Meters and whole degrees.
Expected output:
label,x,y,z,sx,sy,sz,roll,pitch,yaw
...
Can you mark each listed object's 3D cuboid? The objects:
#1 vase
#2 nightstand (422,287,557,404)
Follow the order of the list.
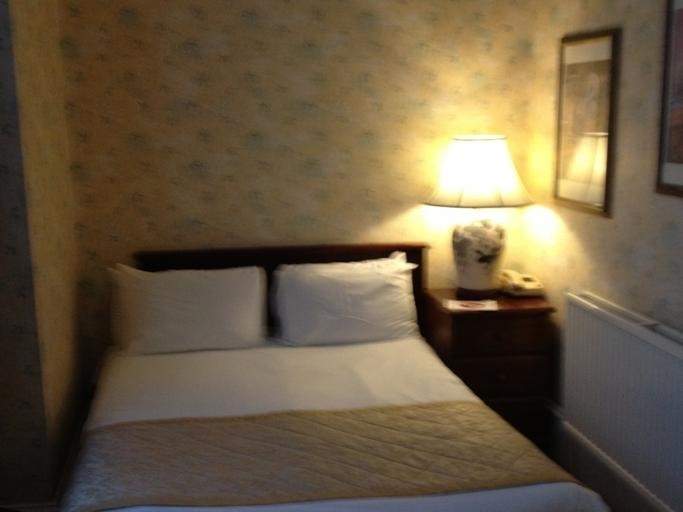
label,x,y,z,sx,sy,sz,roll,pitch,yaw
vase,0.687,-0.297,3.855,0.778,1.155,0.799,0,8,5
nightstand,0.823,0.464,3.511,0.608,0.589,0.554,-1,9,-4
